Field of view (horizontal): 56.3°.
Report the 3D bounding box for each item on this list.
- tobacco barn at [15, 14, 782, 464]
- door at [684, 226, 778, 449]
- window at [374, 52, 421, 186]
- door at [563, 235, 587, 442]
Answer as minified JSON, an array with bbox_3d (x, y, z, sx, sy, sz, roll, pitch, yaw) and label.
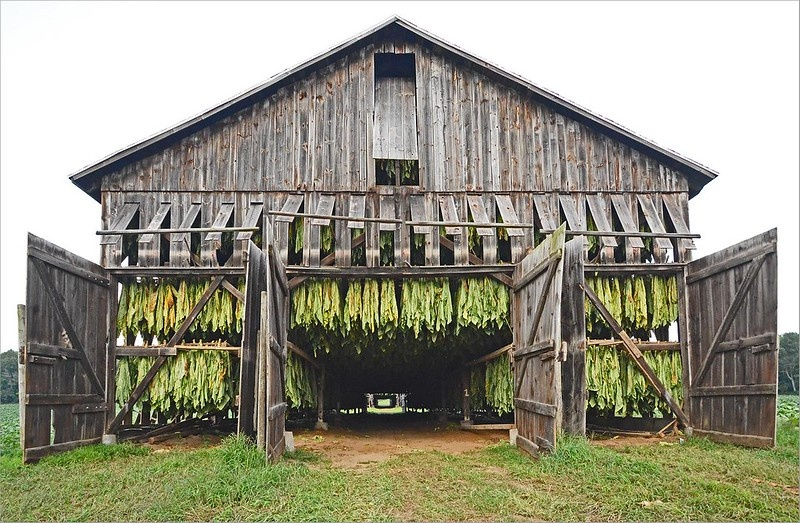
[{"bbox_3d":[-0.382,-2.989,22.264,14.534,12.550,15.804,2,14,7],"label":"tobacco barn"},{"bbox_3d":[6.202,1.416,14.088,0.353,4.053,2.140,-1,2,-21],"label":"door"},{"bbox_3d":[-0.087,-3.386,16.252,0.724,2.381,0.062,7,27,37],"label":"window"},{"bbox_3d":[3.025,1.263,13.089,0.394,3.412,0.734,0,2,12],"label":"door"}]
